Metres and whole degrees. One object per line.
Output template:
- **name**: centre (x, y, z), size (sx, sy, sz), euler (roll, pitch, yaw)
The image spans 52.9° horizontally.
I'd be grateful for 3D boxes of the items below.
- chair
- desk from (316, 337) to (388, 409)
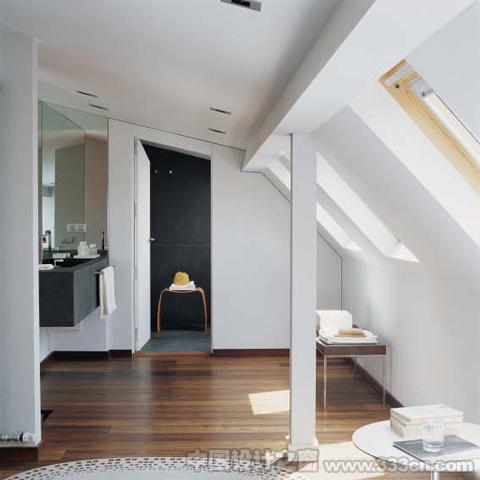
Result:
- **chair**: centre (-0.718, 0.768, 6.049), size (0.557, 0.795, 0.371), euler (1, 10, -6)
- **desk**: centre (0.791, 0.937, 3.617), size (0.488, 0.366, 0.453), euler (-5, -26, 34)
